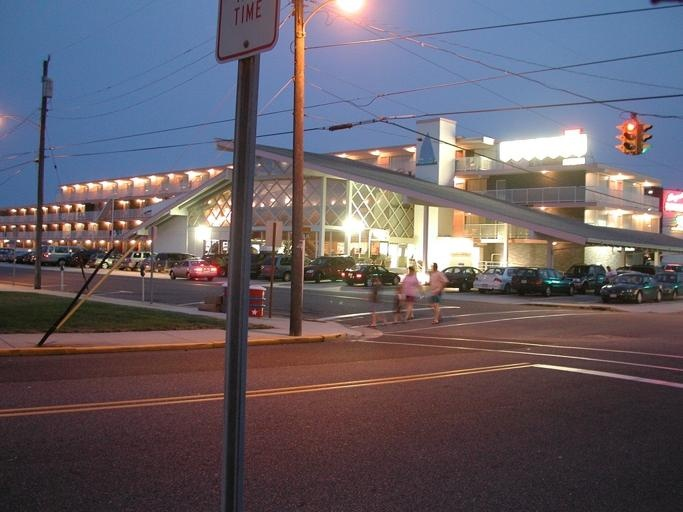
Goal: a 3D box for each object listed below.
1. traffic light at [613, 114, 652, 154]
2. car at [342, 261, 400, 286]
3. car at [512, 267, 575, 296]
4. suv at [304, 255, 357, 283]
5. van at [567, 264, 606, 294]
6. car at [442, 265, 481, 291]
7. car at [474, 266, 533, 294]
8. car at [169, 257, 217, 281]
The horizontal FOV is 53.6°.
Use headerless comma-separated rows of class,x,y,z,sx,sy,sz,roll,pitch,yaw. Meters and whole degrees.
traffic light,9.566,-3.940,21.938,0.860,1.380,0.883,1,3,12
car,2.131,1.169,42.804,3.537,1.141,1.467,-5,5,-41
car,11.660,1.469,38.779,3.561,1.643,1.626,-1,3,-29
suv,-0.830,0.831,45.621,3.234,1.412,1.494,3,-5,-44
van,15.410,1.474,42.537,2.819,1.511,1.730,3,-4,-41
car,7.274,1.295,41.327,1.647,1.240,3.788,0,2,38
car,9.174,1.399,39.419,1.262,0.843,2.863,1,6,38
car,-10.230,0.845,45.631,1.408,0.963,2.802,-1,4,-43
